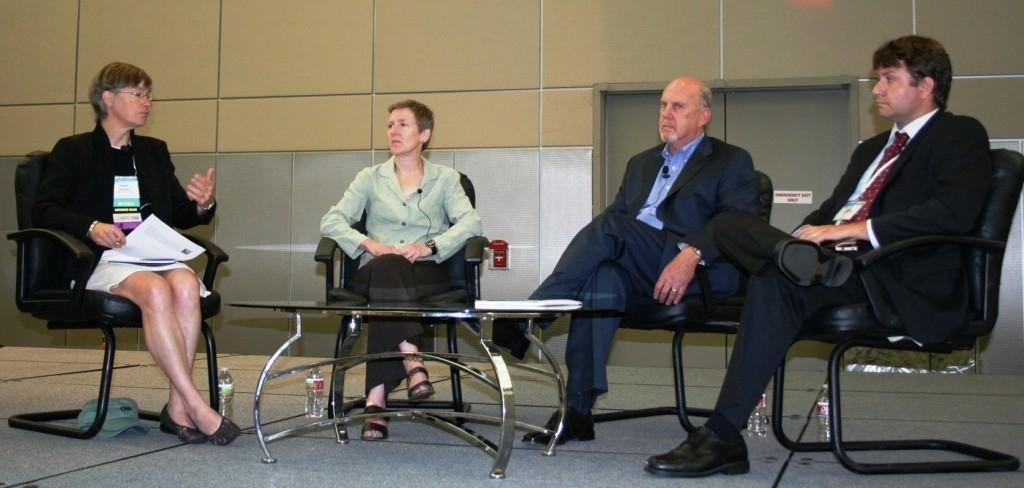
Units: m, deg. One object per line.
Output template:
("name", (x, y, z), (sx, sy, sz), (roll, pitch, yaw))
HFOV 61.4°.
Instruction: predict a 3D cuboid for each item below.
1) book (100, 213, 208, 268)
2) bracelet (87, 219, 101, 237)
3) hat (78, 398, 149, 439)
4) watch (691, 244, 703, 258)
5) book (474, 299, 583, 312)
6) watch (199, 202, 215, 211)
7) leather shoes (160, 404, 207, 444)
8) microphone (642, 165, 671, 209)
("book", (-2.908, 0.035, 6.869), (0.544, 0.192, 0.584), (13, -27, -41))
("bracelet", (-3.385, -0.126, 6.887), (0.086, 0.125, 0.128), (21, -3, 4))
("hat", (-3.249, 1.390, 6.931), (0.456, 0.158, 0.350), (2, 0, 44))
("watch", (1.447, 0.071, 6.732), (0.031, 0.085, 0.095), (-3, 6, -28))
("book", (0.105, 0.454, 6.320), (0.794, 0.042, 0.239), (0, 11, -2))
("watch", (-2.590, -0.312, 7.264), (0.093, 0.062, 0.088), (-14, -22, -50))
("leather shoes", (-2.647, 1.473, 6.950), (0.596, 0.214, 0.194), (6, -2, 32))
("microphone", (1.248, -0.472, 7.319), (0.132, 0.337, 0.260), (36, -6, -41))
